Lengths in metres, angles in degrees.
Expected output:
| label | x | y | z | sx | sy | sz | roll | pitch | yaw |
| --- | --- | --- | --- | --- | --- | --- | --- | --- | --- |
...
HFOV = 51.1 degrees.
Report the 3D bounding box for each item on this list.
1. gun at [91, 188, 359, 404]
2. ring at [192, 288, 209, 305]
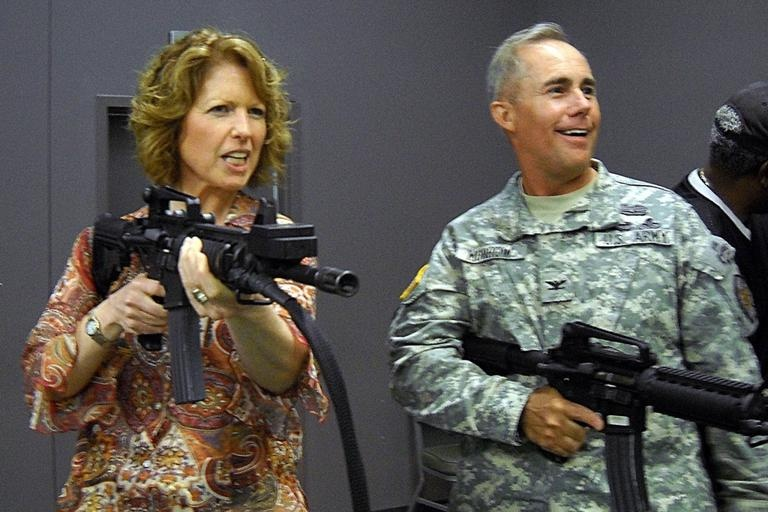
| label | x | y | z | sx | sy | sz | roll | pitch | yaw |
| --- | --- | --- | --- | --- | --- | --- | --- | --- | --- |
| gun | -0.703 | 0.165 | 3.094 | 0.270 | 0.834 | 1.814 | -3 | 8 | -41 |
| ring | -0.665 | 0.139 | 2.905 | 0.032 | 0.031 | 0.055 | -34 | 40 | -21 |
